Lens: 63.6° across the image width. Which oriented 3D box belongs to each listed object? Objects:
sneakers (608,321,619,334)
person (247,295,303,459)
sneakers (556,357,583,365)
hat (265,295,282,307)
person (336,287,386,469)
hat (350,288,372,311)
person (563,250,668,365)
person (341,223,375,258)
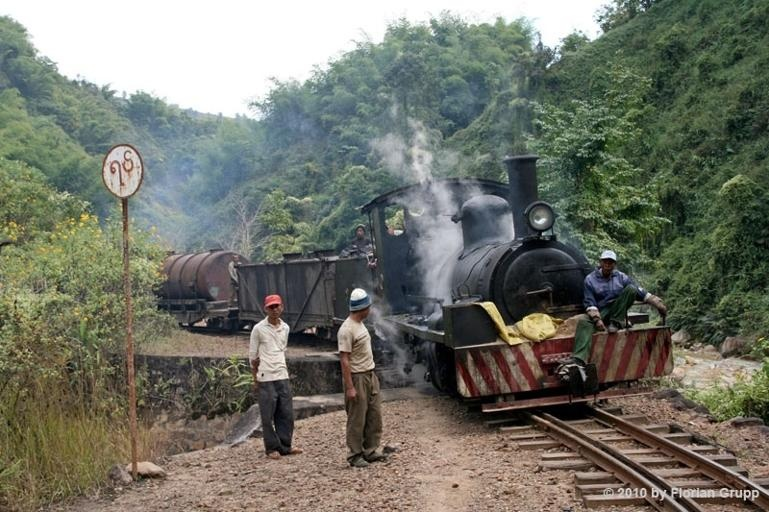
[{"bbox_3d":[4.037,1.244,10.885,0.193,0.190,0.278,-2,9,19],"label":"sneakers"},{"bbox_3d":[-1.919,2.064,10.650,0.681,2.739,0.680,-7,9,-13],"label":"person"},{"bbox_3d":[3.182,1.802,10.656,0.407,0.175,0.139,3,-8,6],"label":"sneakers"},{"bbox_3d":[-1.965,0.784,10.885,0.345,0.197,0.532,0,-6,-10],"label":"hat"},{"bbox_3d":[-0.409,1.950,10.007,0.625,2.745,0.739,-6,9,-4],"label":"person"},{"bbox_3d":[-0.424,0.728,10.223,0.379,0.363,0.373,1,2,32],"label":"hat"},{"bbox_3d":[3.903,0.849,10.877,1.528,1.808,0.809,-6,9,-9],"label":"person"},{"bbox_3d":[-0.724,-0.413,19.293,1.187,1.297,0.786,-8,-10,6],"label":"person"}]
